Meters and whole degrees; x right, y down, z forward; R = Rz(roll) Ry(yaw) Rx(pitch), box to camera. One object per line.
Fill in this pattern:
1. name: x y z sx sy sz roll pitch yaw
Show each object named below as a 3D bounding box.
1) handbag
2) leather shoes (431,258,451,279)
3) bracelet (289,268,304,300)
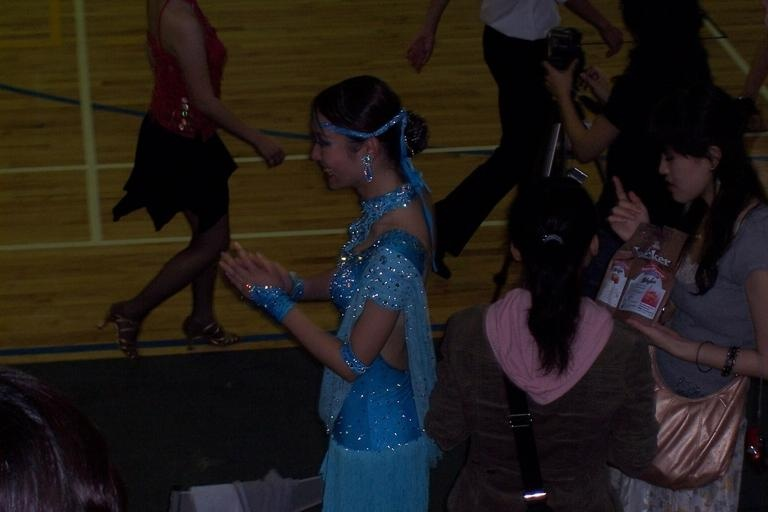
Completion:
1. handbag: 1.372 0.776 3.190 0.428 0.603 0.347 9 17 19
2. leather shoes: 0.410 0.071 5.151 0.114 0.215 0.051 -20 34 7
3. bracelet: -0.404 0.144 3.238 0.109 0.080 0.086 -5 10 -9
